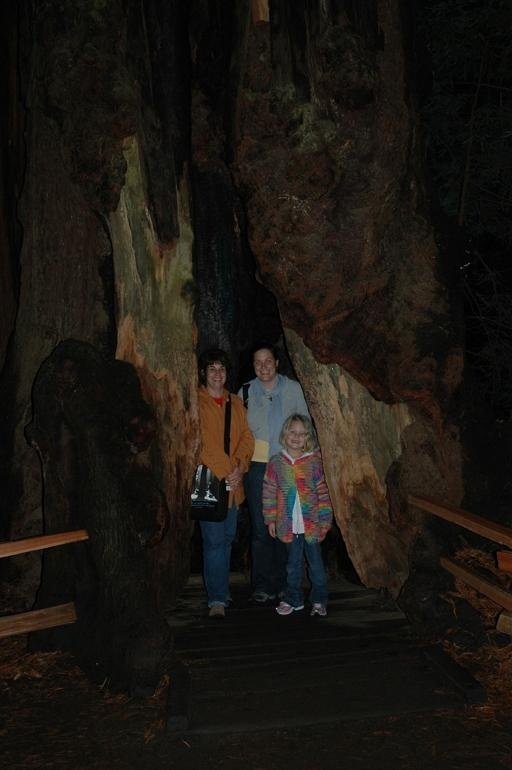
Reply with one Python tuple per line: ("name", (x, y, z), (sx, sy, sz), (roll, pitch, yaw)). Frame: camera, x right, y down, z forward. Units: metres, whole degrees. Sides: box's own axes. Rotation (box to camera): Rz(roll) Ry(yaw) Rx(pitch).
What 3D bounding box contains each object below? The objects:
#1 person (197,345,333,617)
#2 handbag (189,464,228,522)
("person", (0.064, 0.660, 4.509), (0.855, 1.810, 0.739), (-2, 3, 0))
("handbag", (-0.322, 0.603, 4.263), (0.245, 0.364, 0.521), (2, 25, 3))
